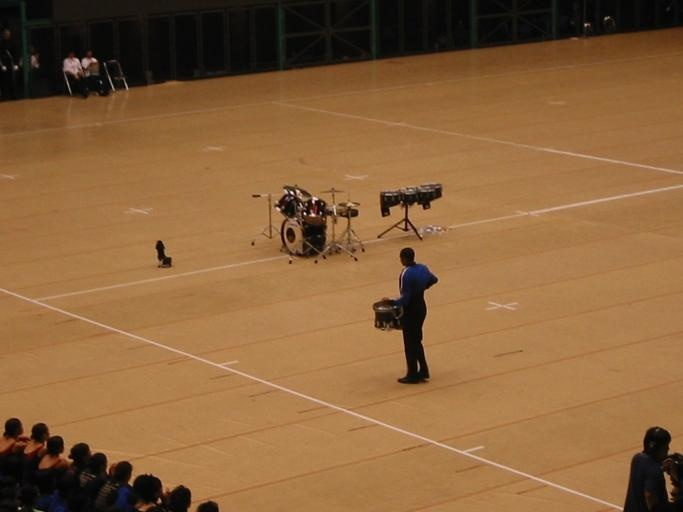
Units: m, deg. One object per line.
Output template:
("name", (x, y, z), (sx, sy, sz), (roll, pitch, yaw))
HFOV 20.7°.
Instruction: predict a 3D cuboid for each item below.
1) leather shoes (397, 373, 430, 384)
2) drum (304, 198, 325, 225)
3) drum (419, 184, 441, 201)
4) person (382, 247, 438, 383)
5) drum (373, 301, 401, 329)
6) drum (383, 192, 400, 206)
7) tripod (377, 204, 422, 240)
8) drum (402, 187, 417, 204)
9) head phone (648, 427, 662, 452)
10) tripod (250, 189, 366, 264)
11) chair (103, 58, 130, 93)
("leather shoes", (1.171, 2.037, 31.258), (0.558, 0.202, 0.181), (1, 5, 4))
("drum", (-0.547, -0.850, 35.550), (0.469, 0.406, 0.437), (-5, 39, -12))
("drum", (1.684, -1.257, 36.327), (0.416, 0.281, 0.301), (-4, 7, -3))
("person", (1.071, 0.948, 31.323), (1.041, 2.127, 0.910), (9, 19, 23))
("drum", (0.729, 0.976, 31.030), (0.466, 0.375, 0.441), (0, 4, 4))
("drum", (0.913, -1.129, 36.058), (0.274, 0.235, 0.140), (-4, 11, -23))
("tripod", (1.233, -0.716, 37.051), (1.044, 0.728, 1.137), (1, 8, 32))
("drum", (1.278, -1.190, 36.272), (0.346, 0.296, 0.275), (-3, 14, -2))
("head phone", (4.448, 2.623, 26.672), (0.248, 0.288, 0.183), (-6, 7, -17))
("tripod", (-0.470, -0.903, 36.526), (1.695, 1.530, 2.007), (-16, 17, -36))
("chair", (-6.346, -5.064, 51.992), (0.625, 0.752, 0.655), (-7, 21, -21))
